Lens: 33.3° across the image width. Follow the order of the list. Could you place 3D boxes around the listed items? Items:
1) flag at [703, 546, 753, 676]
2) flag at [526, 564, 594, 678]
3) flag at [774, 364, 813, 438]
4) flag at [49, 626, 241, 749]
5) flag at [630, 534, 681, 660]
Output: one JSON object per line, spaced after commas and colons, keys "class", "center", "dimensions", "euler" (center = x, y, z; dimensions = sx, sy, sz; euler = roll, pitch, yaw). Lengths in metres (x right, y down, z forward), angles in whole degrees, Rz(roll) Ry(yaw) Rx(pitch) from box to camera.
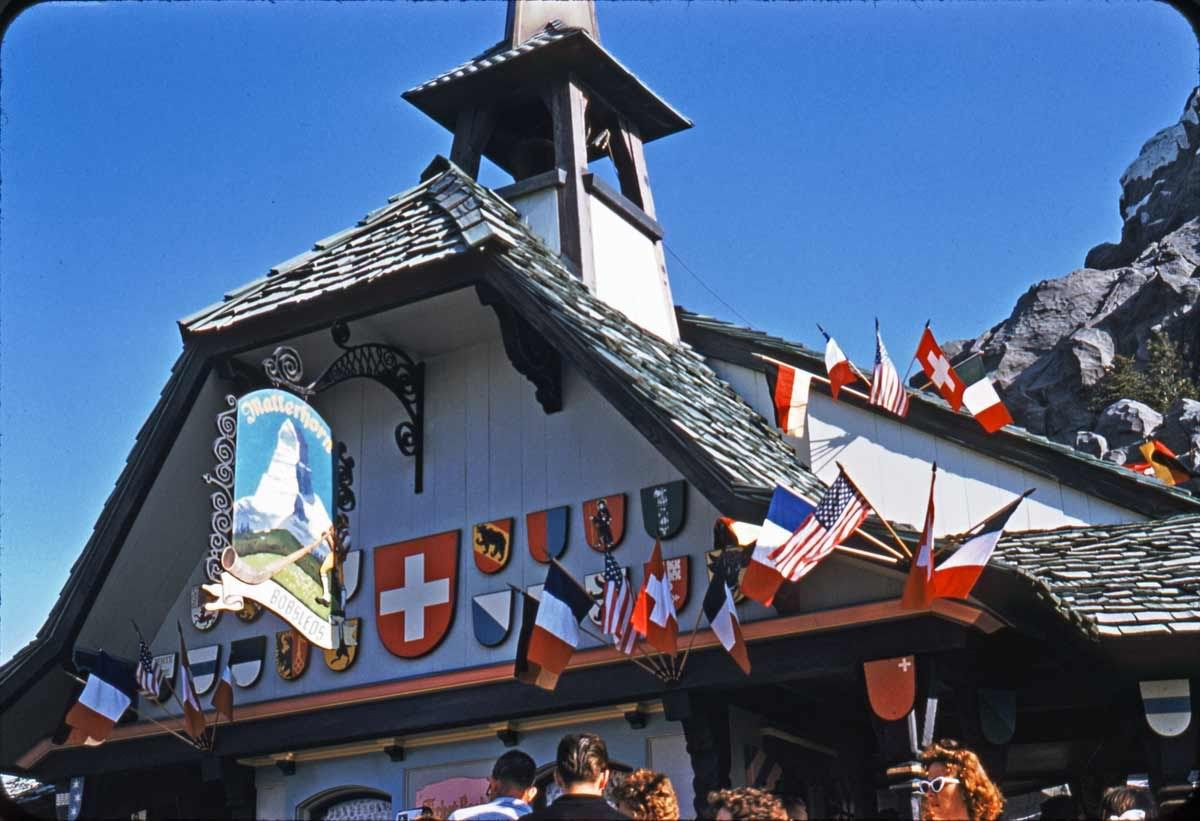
{"class": "flag", "center": [1.577, 2.433, 25.169], "dimensions": [0.501, 1.823, 1.124], "euler": [-5, -28, 4]}
{"class": "flag", "center": [-0.543, 2.638, 25.373], "dimensions": [0.870, 1.451, 0.610], "euler": [-23, -33, 32]}
{"class": "flag", "center": [2.850, -0.247, 29.543], "dimensions": [0.509, 0.950, 0.734], "euler": [-3, -28, -2]}
{"class": "flag", "center": [-6.186, 3.825, 27.662], "dimensions": [2.117, 1.547, 1.480], "euler": [3, -29, -13]}
{"class": "flag", "center": [0.749, 2.364, 25.188], "dimensions": [0.502, 1.263, 0.840], "euler": [7, -29, -19]}
